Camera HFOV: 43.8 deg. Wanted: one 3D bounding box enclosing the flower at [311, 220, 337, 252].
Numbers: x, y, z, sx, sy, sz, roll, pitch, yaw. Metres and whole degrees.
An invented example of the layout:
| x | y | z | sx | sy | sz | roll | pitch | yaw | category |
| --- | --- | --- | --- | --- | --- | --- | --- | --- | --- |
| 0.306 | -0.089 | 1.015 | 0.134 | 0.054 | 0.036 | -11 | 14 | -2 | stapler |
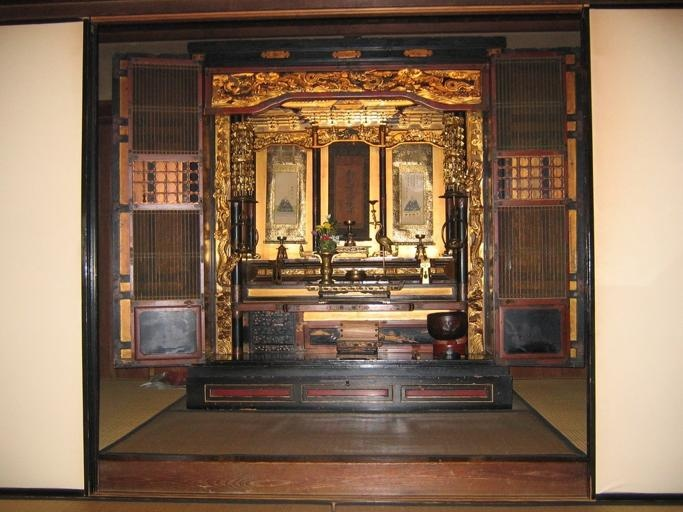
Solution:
| x | y | z | sx | sy | sz | roll | pitch | yaw | category |
| --- | --- | --- | --- | --- | --- | --- | --- | --- | --- |
| -0.148 | -0.171 | 7.663 | 0.186 | 0.286 | 0.347 | -1 | 3 | -8 | flower |

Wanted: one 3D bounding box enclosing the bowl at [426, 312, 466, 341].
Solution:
| x | y | z | sx | sy | sz | roll | pitch | yaw | category |
| --- | --- | --- | --- | --- | --- | --- | --- | --- | --- |
| 0.871 | 0.568 | 6.929 | 0.322 | 0.234 | 0.203 | -1 | 2 | -3 | bowl |
